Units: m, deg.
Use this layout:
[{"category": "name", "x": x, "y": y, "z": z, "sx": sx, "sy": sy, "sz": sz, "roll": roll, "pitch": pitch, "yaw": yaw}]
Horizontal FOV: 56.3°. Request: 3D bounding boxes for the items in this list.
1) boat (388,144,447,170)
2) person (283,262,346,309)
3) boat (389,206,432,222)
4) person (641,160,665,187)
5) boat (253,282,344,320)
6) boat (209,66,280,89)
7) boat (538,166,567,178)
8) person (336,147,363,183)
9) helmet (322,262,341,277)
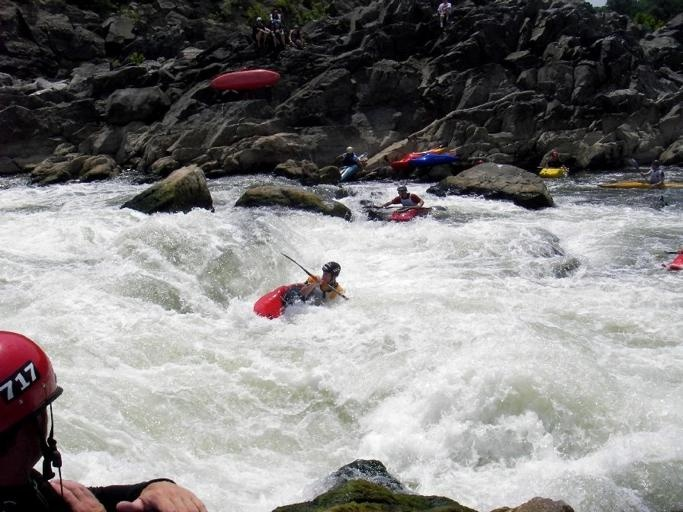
[{"category": "boat", "x": 2.876, "y": -3.709, "z": 25.910, "sx": 0.900, "sy": 0.605, "sz": 2.828, "roll": -28, "pitch": 10, "yaw": -34}, {"category": "person", "x": -0.430, "y": 0.545, "z": 11.887, "sx": 0.734, "sy": 0.640, "sz": 1.077, "roll": 31, "pitch": 12, "yaw": 26}, {"category": "boat", "x": 1.775, "y": -1.107, "z": 17.080, "sx": 0.749, "sy": 0.330, "sz": 1.080, "roll": 11, "pitch": 15, "yaw": 42}, {"category": "person", "x": 10.143, "y": -2.632, "z": 20.701, "sx": 0.514, "sy": 0.812, "sz": 0.725, "roll": 3, "pitch": 13, "yaw": 6}, {"category": "boat", "x": -0.877, "y": 0.836, "z": 11.678, "sx": 1.484, "sy": 0.437, "sz": 0.626, "roll": -7, "pitch": 54, "yaw": -28}, {"category": "boat", "x": -4.557, "y": -8.104, "z": 29.665, "sx": 2.426, "sy": 0.667, "sz": 1.287, "roll": -8, "pitch": 14, "yaw": -12}, {"category": "boat", "x": 8.098, "y": -3.197, "z": 24.514, "sx": 0.915, "sy": 0.445, "sz": 0.812, "roll": 4, "pitch": 12, "yaw": 13}, {"category": "person", "x": 0.143, "y": -3.682, "z": 26.254, "sx": 0.616, "sy": 0.903, "sz": 1.744, "roll": -15, "pitch": 19, "yaw": 30}, {"category": "helmet", "x": -0.217, "y": 0.224, "z": 11.880, "sx": 0.315, "sy": 0.263, "sz": 0.227, "roll": 27, "pitch": -1, "yaw": -14}]
